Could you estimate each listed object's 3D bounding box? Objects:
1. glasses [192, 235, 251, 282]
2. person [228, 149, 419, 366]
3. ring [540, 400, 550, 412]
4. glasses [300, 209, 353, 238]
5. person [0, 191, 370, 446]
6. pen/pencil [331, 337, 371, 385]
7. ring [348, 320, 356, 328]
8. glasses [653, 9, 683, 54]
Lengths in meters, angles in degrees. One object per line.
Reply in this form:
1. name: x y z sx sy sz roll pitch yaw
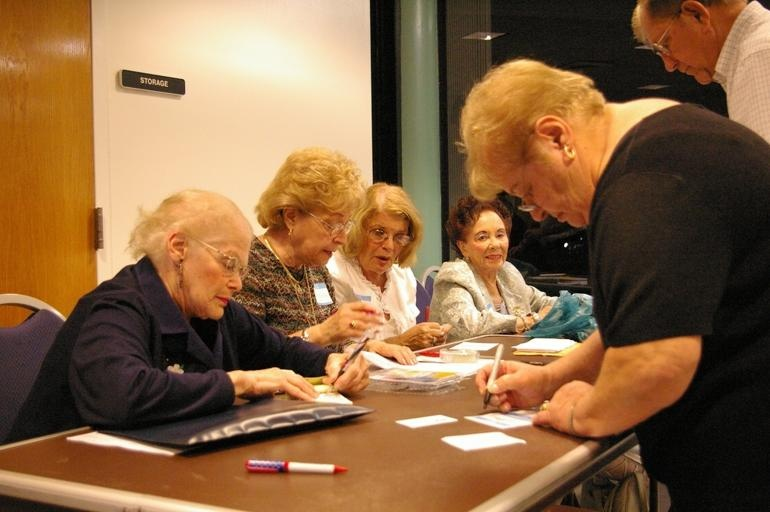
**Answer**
1. glasses: -0.563 0.015 2.071 0.140 0.043 0.137 35 1 26
2. person: -0.337 -0.018 3.241 0.935 0.946 0.943 12 -3 14
3. ring: 0.475 0.448 1.828 0.034 0.013 0.035 -34 -3 -2
4. glasses: -0.286 -0.161 2.989 0.148 0.046 0.144 33 10 15
5. person: -0.613 0.209 2.021 0.912 0.628 0.816 1 -3 15
6. pen/pencil: -0.131 0.398 2.305 0.027 0.027 0.237 27 49 13
7. ring: -0.149 0.298 2.679 0.028 0.029 0.007 -39 1 25
8. glasses: 1.329 -1.063 2.879 0.055 0.187 0.181 3 5 17
